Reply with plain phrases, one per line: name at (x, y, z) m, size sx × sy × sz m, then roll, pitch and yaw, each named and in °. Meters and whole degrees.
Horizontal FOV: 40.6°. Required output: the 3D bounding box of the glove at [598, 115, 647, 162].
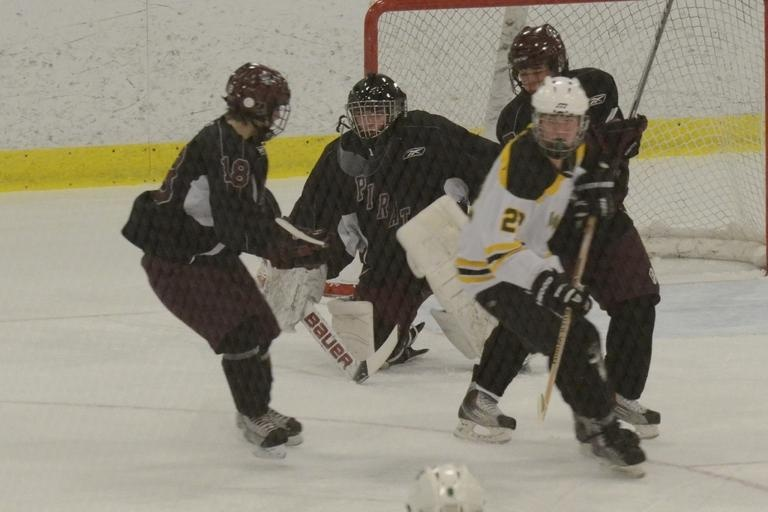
glove at (1.056, -0.524, 4.608) m, size 0.244 × 0.188 × 0.091 m, roll -1°, pitch 15°, yaw -12°

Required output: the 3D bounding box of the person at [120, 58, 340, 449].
person at (-0.615, -0.020, 4.705) m, size 0.828 × 1.664 × 0.604 m, roll 11°, pitch 21°, yaw 29°

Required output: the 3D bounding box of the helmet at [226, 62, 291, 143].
helmet at (-0.549, -0.695, 4.791) m, size 0.436 × 0.327 × 0.287 m, roll 8°, pitch 1°, yaw -15°

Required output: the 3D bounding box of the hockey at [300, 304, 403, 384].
hockey at (-0.170, 0.429, 5.304) m, size 0.470 × 0.361 × 0.116 m, roll 48°, pitch 11°, yaw 13°

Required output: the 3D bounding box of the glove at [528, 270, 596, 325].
glove at (0.767, 0.167, 4.471) m, size 0.203 × 0.198 × 0.169 m, roll -9°, pitch 19°, yaw -29°

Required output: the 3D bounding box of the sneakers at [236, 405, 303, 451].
sneakers at (-0.496, 0.772, 4.646) m, size 0.261 × 0.079 × 0.165 m, roll 17°, pitch 24°, yaw 35°

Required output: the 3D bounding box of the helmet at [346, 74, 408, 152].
helmet at (-0.039, -0.688, 4.886) m, size 0.278 × 0.318 × 0.262 m, roll 1°, pitch 17°, yaw 1°
